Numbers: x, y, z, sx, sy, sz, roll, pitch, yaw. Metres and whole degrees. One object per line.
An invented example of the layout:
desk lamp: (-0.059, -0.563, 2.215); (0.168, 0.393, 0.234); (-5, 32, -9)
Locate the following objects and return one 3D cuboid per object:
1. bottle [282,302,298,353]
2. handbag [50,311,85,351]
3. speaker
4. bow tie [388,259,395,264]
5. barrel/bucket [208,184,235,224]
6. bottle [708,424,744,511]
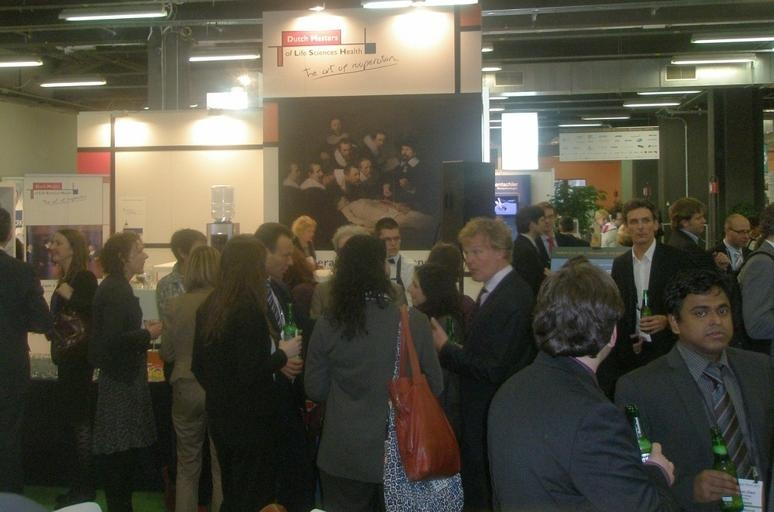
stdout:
bottle: (-0.740, 0.544, 5.497); (0.132, 0.401, 0.130); (-3, -30, -1)
handbag: (-2.648, 0.620, 6.159); (0.244, 0.308, 0.120); (-37, -1, 4)
speaker: (0.850, -0.602, 8.088); (0.526, 0.832, 0.518); (5, 4, -7)
bow tie: (0.038, 0.051, 6.875); (0.013, 0.049, 0.055); (1, 14, 27)
barrel/bucket: (-2.230, -0.736, 9.901); (0.327, 0.531, 0.330); (5, 19, -2)
bottle: (1.999, 1.250, 4.304); (0.151, 0.476, 0.142); (-1, 2, 0)
